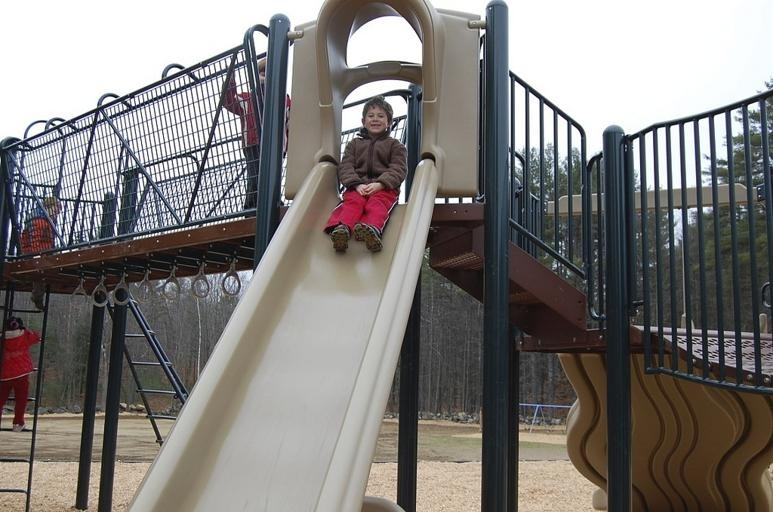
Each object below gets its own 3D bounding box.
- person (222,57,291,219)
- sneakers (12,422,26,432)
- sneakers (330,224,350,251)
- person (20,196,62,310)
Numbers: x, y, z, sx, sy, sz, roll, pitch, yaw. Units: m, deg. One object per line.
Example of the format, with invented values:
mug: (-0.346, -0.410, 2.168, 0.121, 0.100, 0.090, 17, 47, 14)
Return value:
person: (-1.717, -1.606, 10.912, 0.867, 2.373, 0.591, -7, -14, 6)
sneakers: (-5.891, 2.711, 12.702, 0.138, 0.192, 0.419, 3, -16, -9)
sneakers: (-0.571, -0.227, 9.655, 0.168, 0.359, 0.126, 4, 15, 3)
person: (-5.173, -0.118, 11.896, 0.406, 1.499, 1.039, -11, -26, -32)
